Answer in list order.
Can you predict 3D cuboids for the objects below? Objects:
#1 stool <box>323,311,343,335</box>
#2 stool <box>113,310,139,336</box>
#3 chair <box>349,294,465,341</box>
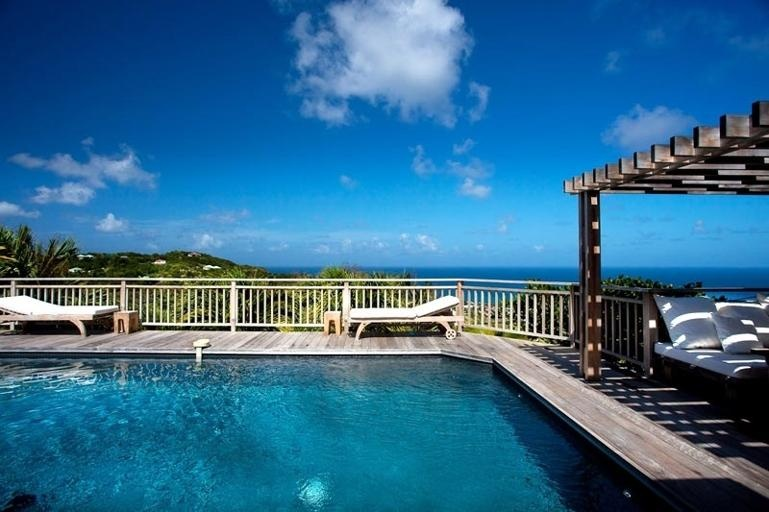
[{"bbox_3d":[-1.317,1.701,12.257,0.589,0.530,0.548,-2,-4,3],"label":"stool"},{"bbox_3d":[-6.687,1.712,12.562,0.572,0.631,0.692,-3,0,1],"label":"stool"},{"bbox_3d":[0.558,1.462,11.860,2.498,0.794,1.203,1,-4,1],"label":"chair"}]
